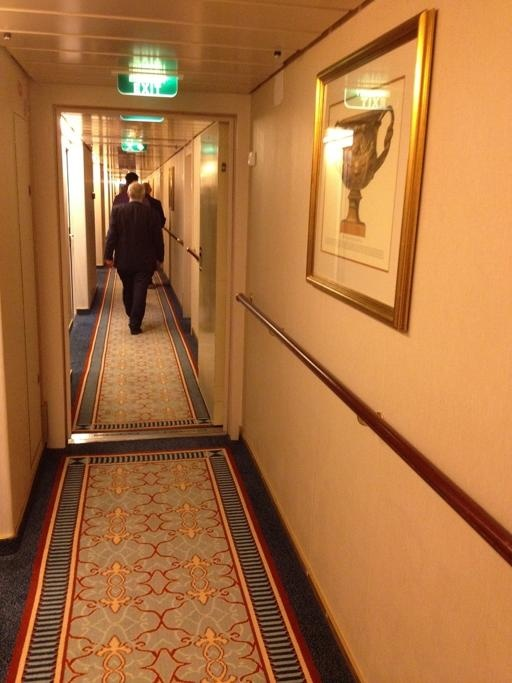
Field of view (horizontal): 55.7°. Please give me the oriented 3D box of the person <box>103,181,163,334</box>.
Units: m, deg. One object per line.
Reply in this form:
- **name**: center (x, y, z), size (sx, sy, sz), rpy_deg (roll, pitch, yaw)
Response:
- **person**: center (-1.868, -1.237, 7.473), size (0.869, 2.315, 0.738), rpy_deg (1, 9, -1)
